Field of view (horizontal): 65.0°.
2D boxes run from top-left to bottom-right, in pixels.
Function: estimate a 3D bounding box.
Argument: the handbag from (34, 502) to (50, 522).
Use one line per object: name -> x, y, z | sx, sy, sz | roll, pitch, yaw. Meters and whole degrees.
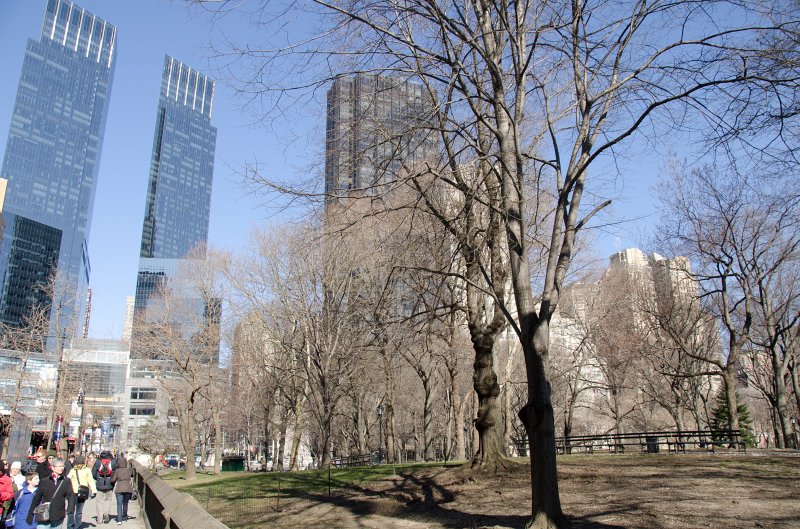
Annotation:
handbag -> -12.590, 8.754, 22.072 | 0.526, 0.646, 0.272 | -10, -18, -11
